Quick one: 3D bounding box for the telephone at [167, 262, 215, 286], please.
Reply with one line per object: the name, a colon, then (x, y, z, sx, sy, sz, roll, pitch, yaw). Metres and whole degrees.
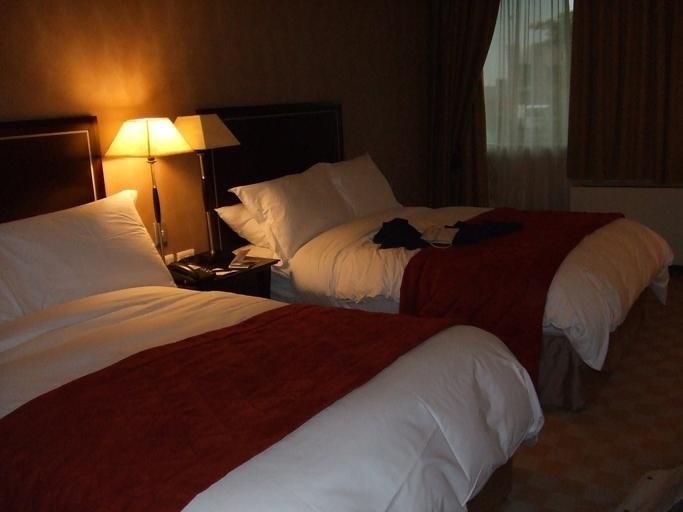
telephone: (-1.042, 0.094, 3.547, 0.248, 0.098, 0.161, 3, 8, 27)

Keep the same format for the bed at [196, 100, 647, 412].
bed: (0.627, -0.383, 4.134, 2.873, 2.112, 2.128, 0, 13, 37)

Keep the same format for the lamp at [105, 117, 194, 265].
lamp: (-1.375, -0.421, 3.841, 0.548, 1.314, 0.521, -19, 36, -37)

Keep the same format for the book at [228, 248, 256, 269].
book: (-0.748, 0.019, 3.832, 0.121, 0.060, 0.188, 1, 15, 1)
